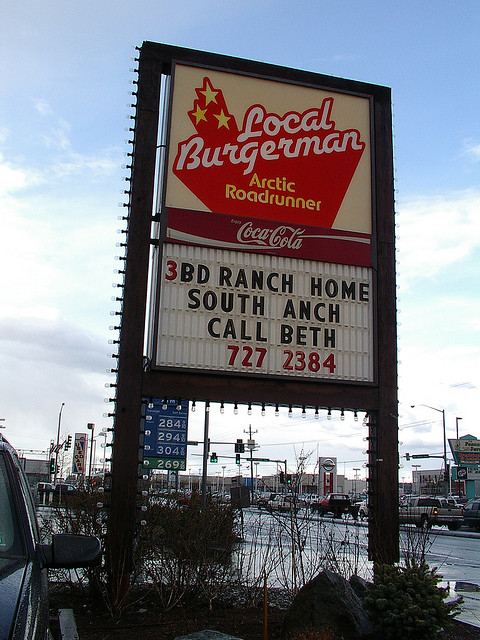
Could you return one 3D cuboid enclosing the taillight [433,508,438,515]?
[{"bbox_3d":[10.754,10.432,33.136,0.245,0.484,0.098,5,1,-8],"label":"taillight"}]

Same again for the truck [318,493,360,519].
[{"bbox_3d":[6.802,12.712,41.792,1.610,1.529,4.101,7,-14,-30],"label":"truck"}]
